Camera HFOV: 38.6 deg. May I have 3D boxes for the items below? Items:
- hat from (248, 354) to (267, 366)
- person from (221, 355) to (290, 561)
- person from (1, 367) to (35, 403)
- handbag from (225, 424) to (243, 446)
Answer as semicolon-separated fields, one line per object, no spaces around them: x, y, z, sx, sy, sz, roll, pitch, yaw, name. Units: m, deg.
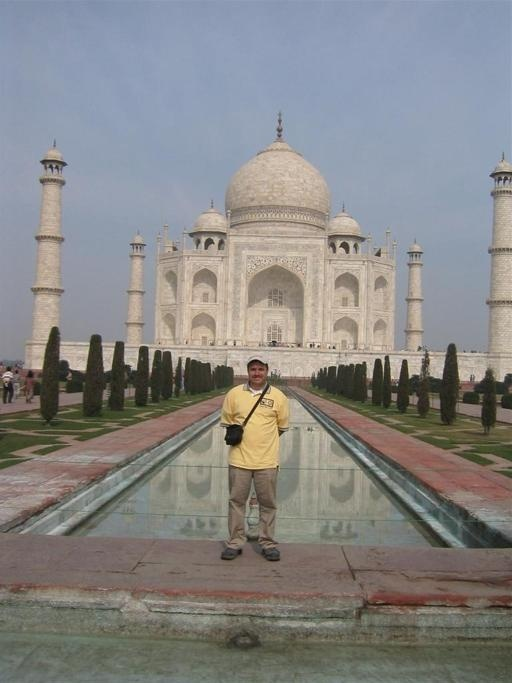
0.006;0.088;3.096;0.080;0.035;0.068;1;-1;-1;hat
-0.013;0.485;3.077;0.286;0.814;0.446;1;-1;1;person
-4.813;0.902;14.739;0.795;0.877;0.279;1;3;-5;person
-0.089;0.397;3.089;0.095;0.103;0.059;-1;-20;11;handbag
